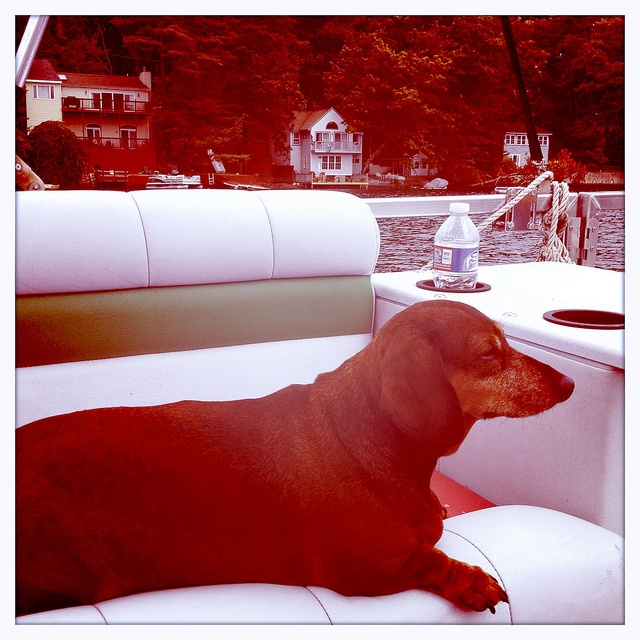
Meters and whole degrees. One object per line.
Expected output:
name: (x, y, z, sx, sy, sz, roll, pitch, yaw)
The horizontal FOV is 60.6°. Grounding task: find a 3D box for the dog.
dog: (-0.104, 0.217, 1.252, 1.325, 0.609, 0.470, -6, 12, -6)
